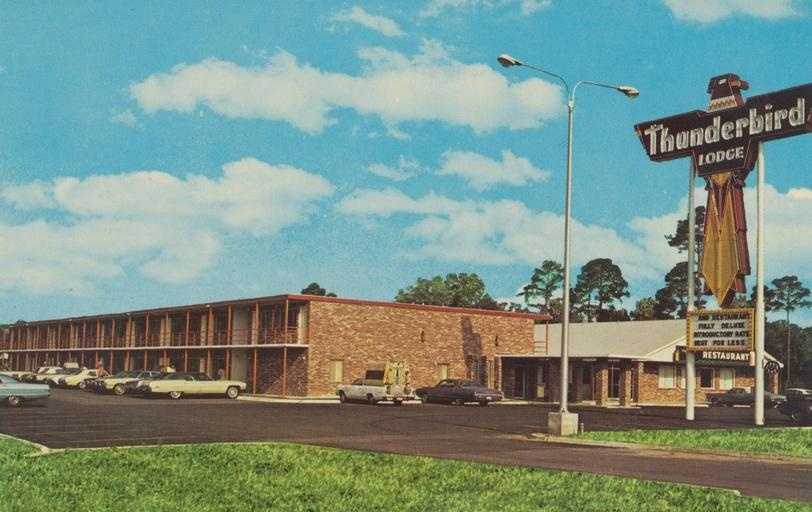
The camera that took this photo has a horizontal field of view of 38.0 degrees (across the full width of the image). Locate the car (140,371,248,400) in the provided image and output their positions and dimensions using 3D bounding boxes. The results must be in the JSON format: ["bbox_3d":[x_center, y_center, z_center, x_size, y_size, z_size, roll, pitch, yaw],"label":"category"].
[{"bbox_3d":[-14.341,8.681,79.125,6.054,1.973,2.374,2,-7,-24],"label":"car"}]
